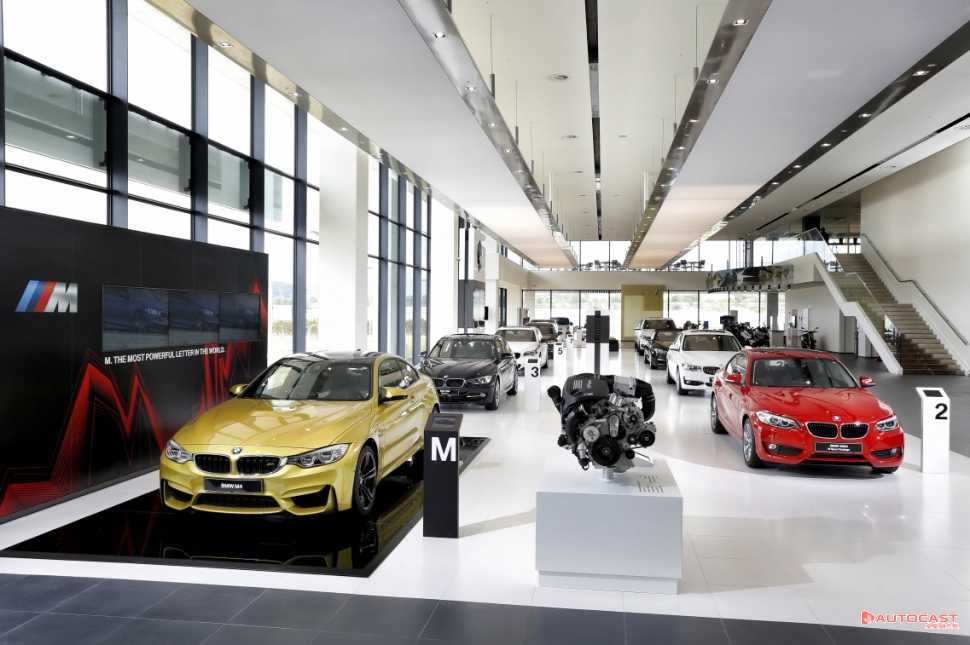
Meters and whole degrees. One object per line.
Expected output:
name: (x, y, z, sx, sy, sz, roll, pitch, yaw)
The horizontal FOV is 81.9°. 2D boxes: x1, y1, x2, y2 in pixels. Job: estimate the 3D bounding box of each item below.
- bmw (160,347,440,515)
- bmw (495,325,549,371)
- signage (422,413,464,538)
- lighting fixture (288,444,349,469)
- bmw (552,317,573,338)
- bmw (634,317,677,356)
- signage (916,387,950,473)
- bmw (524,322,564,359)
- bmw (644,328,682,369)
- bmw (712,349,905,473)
bmw: (-2.258, 1.458, 7.357, 2.035, 1.814, 2.996, 3, 5, 29)
bmw: (1.123, 0.802, 17.258, 1.430, 1.036, 3.166, 0, -2, 9)
signage: (-0.494, 1.761, 6.402, 0.438, 1.337, 0.381, 0, 4, -5)
lighting fixture: (-1.882, 1.540, 6.373, 0.670, 0.203, 0.082, -2, 5, -28)
bmw: (5.197, 0.256, 36.865, 1.061, 0.924, 2.497, 0, -2, 5)
bmw: (8.304, 0.614, 27.954, 1.530, 1.237, 3.368, 0, -3, 5)
signage: (6.838, 1.654, 8.501, 0.434, 1.222, 0.568, 2, 5, 27)
bmw: (2.224, 0.708, 21.085, 1.451, 1.195, 3.220, 0, -2, 5)
bmw: (6.809, 0.988, 21.604, 0.997, 0.824, 2.351, 0, -2, 5)
bmw: (5.077, 1.377, 8.964, 2.003, 1.704, 2.286, 1, 4, 3)
